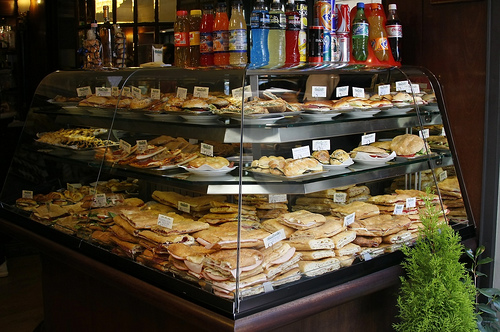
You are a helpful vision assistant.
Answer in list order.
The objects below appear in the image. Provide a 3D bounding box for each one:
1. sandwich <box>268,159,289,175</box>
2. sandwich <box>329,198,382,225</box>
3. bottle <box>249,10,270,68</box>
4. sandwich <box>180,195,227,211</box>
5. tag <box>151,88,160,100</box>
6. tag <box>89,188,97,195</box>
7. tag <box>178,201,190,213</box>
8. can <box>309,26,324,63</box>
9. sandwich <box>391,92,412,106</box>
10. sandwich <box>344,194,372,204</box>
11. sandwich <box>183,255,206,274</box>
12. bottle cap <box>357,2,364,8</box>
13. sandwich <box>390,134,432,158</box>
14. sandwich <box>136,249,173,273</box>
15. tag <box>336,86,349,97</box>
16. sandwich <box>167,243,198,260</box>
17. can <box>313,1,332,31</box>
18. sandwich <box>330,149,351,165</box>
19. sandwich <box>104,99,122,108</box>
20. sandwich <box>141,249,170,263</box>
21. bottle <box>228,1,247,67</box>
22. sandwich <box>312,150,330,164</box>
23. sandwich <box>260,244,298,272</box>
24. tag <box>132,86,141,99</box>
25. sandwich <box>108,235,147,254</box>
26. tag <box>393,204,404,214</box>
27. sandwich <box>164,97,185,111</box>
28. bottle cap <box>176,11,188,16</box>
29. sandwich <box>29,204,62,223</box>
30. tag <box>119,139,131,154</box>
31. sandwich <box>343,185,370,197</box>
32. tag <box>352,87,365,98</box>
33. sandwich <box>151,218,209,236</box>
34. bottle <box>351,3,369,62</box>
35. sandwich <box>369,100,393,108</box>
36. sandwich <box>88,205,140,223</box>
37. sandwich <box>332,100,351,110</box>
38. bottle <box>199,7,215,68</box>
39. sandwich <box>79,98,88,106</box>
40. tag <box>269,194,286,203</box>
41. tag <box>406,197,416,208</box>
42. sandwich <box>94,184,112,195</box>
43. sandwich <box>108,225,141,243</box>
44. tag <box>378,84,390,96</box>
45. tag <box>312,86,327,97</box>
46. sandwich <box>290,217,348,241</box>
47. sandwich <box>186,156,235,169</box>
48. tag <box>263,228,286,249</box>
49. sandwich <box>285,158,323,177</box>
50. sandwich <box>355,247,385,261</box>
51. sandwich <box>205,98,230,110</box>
[{"bbox_3d":[0.123,-0.002,1.669,0.069,0.025,0.083,12,29,18],"label":"sandwich"},{"bbox_3d":[0.580,0.239,1.931,0.181,0.045,0.171,-16,20,-32],"label":"sandwich"},{"bbox_3d":[0.054,-0.722,1.987,0.117,0.283,0.094,-2,13,5],"label":"bottle"},{"bbox_3d":[-0.242,0.185,1.811,0.133,0.035,0.125,-4,7,-38],"label":"sandwich"},{"bbox_3d":[-0.541,-0.407,2.019,0.085,0.078,0.012,2,2,29],"label":"tag"},{"bbox_3d":[-0.921,0.147,2.063,0.042,0.027,0.057,7,-2,-43],"label":"tag"},{"bbox_3d":[-0.346,0.214,1.856,0.067,0.040,0.009,10,5,32],"label":"tag"},{"bbox_3d":[0.389,-0.712,2.082,0.089,0.215,0.151,-1,13,12],"label":"can"},{"bbox_3d":[0.893,-0.386,2.076,0.114,0.069,0.030,2,-6,-11],"label":"sandwich"},{"bbox_3d":[0.598,0.180,1.990,0.107,0.026,0.056,-6,9,-25],"label":"sandwich"},{"bbox_3d":[-0.243,0.427,1.576,0.081,0.071,0.029,-25,-3,31],"label":"sandwich"},{"bbox_3d":[0.705,-1.017,2.251,0.040,0.040,0.038,0,12,11],"label":"bottle cap"},{"bbox_3d":[0.941,-0.153,2.124,0.224,0.072,0.228,-5,28,9],"label":"sandwich"},{"bbox_3d":[-0.451,0.442,1.706,0.116,0.029,0.118,10,4,40],"label":"sandwich"},{"bbox_3d":[0.506,-0.408,1.950,0.084,0.047,0.008,-3,-3,-24],"label":"tag"},{"bbox_3d":[-0.325,0.389,1.637,0.097,0.020,0.073,12,33,29],"label":"sandwich"},{"bbox_3d":[0.446,-0.912,2.166,0.107,0.183,0.095,-1,13,10],"label":"can"},{"bbox_3d":[0.466,-0.048,1.867,0.096,0.029,0.084,-21,26,-41],"label":"sandwich"},{"bbox_3d":[-0.834,-0.374,2.124,0.074,0.058,0.018,-2,-11,24],"label":"sandwich"},{"bbox_3d":[-0.458,0.424,1.702,0.085,0.021,0.080,7,-1,-39],"label":"sandwich"},{"bbox_3d":[-0.071,-0.734,1.965,0.104,0.345,0.222,-4,13,-2],"label":"bottle"},{"bbox_3d":[0.370,-0.042,1.823,0.083,0.066,0.025,4,-13,-26],"label":"sandwich"},{"bbox_3d":[0.131,0.411,1.599,0.119,0.030,0.099,-17,23,-14],"label":"sandwich"},{"bbox_3d":[-0.667,-0.427,2.075,0.094,0.073,0.012,3,-9,31],"label":"tag"},{"bbox_3d":[-0.627,0.391,1.831,0.122,0.027,0.100,15,9,39],"label":"sandwich"},{"bbox_3d":[0.842,0.244,2.016,0.063,0.053,0.006,8,-11,-20],"label":"tag"},{"bbox_3d":[-0.401,-0.326,1.886,0.106,0.083,0.031,7,-28,5],"label":"sandwich"},{"bbox_3d":[-0.438,-0.974,2.271,0.062,0.035,0.051,-5,12,-14],"label":"bottle cap"},{"bbox_3d":[-1.347,0.291,2.303,0.171,0.043,0.165,-3,4,-44],"label":"sandwich"},{"bbox_3d":[-0.706,-0.111,2.003,0.080,0.049,0.009,26,6,22],"label":"tag"},{"bbox_3d":[0.600,0.135,1.980,0.169,0.054,0.012,-7,13,-23],"label":"sandwich"},{"bbox_3d":[0.610,-0.413,2.001,0.083,0.068,0.006,5,-25,-26],"label":"tag"},{"bbox_3d":[-0.338,0.297,1.750,0.122,0.027,0.129,6,8,43],"label":"sandwich"},{"bbox_3d":[0.709,-0.830,2.288,0.113,0.306,0.087,1,14,18],"label":"bottle"},{"bbox_3d":[0.749,-0.355,2.022,0.164,0.037,0.037,-9,14,-33],"label":"sandwich"},{"bbox_3d":[-0.784,0.242,1.990,0.151,0.038,0.151,6,10,33],"label":"sandwich"},{"bbox_3d":[0.491,-0.327,1.913,0.126,0.047,0.033,-11,15,-38],"label":"sandwich"},{"bbox_3d":[-0.261,-0.778,2.122,0.102,0.345,0.148,-5,13,-5],"label":"bottle"},{"bbox_3d":[-1.074,-0.401,2.275,0.056,0.050,0.018,-23,-43,24],"label":"sandwich"},{"bbox_3d":[0.136,0.155,1.739,0.077,0.043,0.014,1,9,-13],"label":"tag"},{"bbox_3d":[0.936,0.212,2.057,0.071,0.052,0.015,1,1,-20],"label":"tag"},{"bbox_3d":[-0.839,0.129,2.034,0.062,0.015,0.067,15,17,40],"label":"sandwich"},{"bbox_3d":[-0.667,0.342,1.856,0.115,0.029,0.095,18,12,22],"label":"sandwich"},{"bbox_3d":[0.785,-0.443,2.070,0.088,0.056,0.028,-7,13,-22],"label":"tag"},{"bbox_3d":[0.367,-0.394,1.877,0.103,0.057,0.026,-10,15,-34],"label":"tag"},{"bbox_3d":[0.350,0.312,1.765,0.206,0.035,0.112,-10,14,-31],"label":"sandwich"},{"bbox_3d":[-0.196,-0.014,1.694,0.280,0.064,0.026,6,16,34],"label":"sandwich"},{"bbox_3d":[0.098,0.331,1.665,0.007,0.045,0.149,-19,-6,40],"label":"tag"},{"bbox_3d":[0.263,0.010,1.732,0.191,0.082,0.046,-9,-14,-30],"label":"sandwich"},{"bbox_3d":[0.627,0.435,1.824,0.190,0.057,0.030,-7,13,-24],"label":"sandwich"},{"bbox_3d":[-0.151,-0.295,1.719,0.067,0.022,0.084,-11,8,-37],"label":"sandwich"}]
